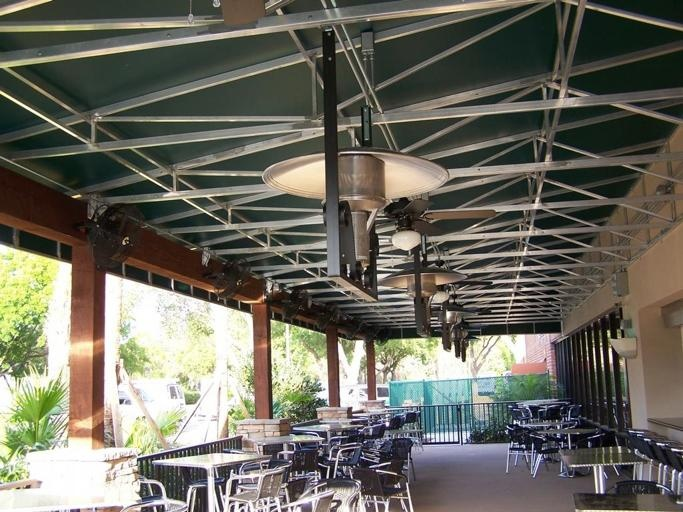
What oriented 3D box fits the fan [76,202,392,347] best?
[{"bbox_3d":[-1.969,0.362,9.659,5.448,1.254,1.382,15,2,-1],"label":"fan"}]
